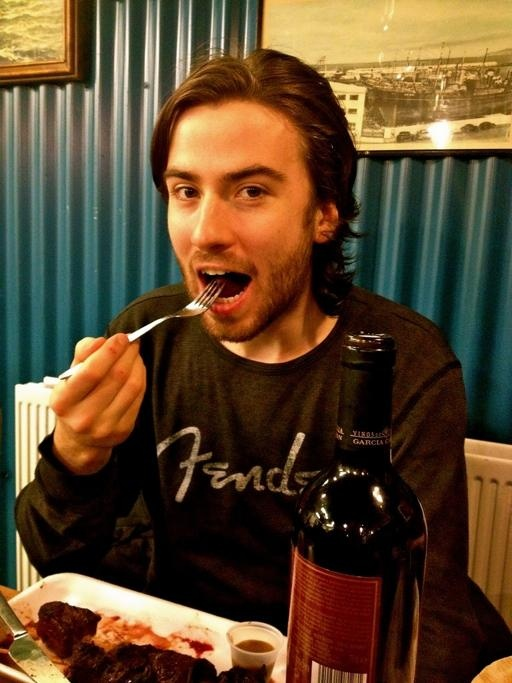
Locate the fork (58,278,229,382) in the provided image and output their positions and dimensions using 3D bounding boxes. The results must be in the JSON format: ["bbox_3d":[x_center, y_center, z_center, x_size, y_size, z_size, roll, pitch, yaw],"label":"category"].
[{"bbox_3d":[-0.263,-0.043,1.426,0.072,0.542,0.076,52,1,39],"label":"fork"}]
